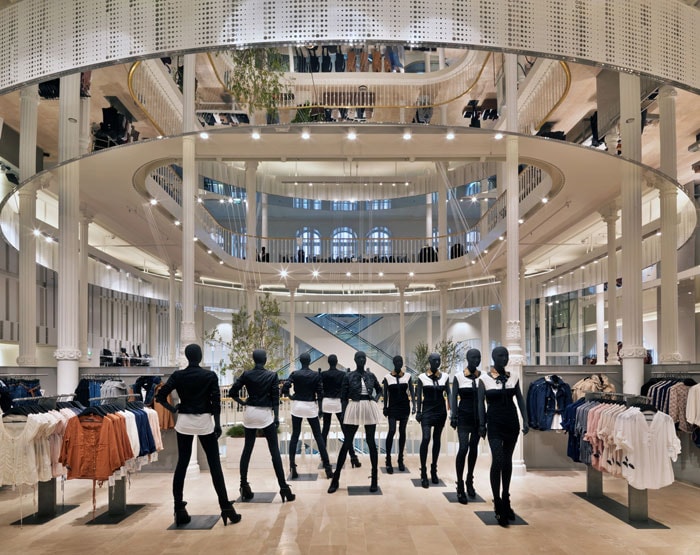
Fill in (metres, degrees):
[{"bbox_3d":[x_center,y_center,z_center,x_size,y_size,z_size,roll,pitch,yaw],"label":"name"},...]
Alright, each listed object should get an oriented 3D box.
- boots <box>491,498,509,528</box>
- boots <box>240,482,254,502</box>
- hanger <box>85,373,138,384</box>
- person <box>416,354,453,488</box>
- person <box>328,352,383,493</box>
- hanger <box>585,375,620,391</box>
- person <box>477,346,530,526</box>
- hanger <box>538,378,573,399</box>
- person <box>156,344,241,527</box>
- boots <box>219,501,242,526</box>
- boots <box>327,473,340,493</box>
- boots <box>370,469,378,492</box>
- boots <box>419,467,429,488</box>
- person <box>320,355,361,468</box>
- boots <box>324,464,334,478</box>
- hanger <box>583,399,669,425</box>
[{"bbox_3d":[1.598,2.501,6.890,0.092,0.301,0.204,-8,31,4],"label":"boots"},{"bbox_3d":[-1.207,2.598,7.820,0.192,0.220,0.116,5,-5,-43],"label":"boots"},{"bbox_3d":[-3.620,1.520,9.814,0.738,0.148,0.449,6,-12,-31],"label":"hanger"},{"bbox_3d":[1.099,1.881,8.603,0.443,1.723,0.877,-2,-9,8],"label":"person"},{"bbox_3d":[0.084,1.876,8.585,0.646,1.778,1.433,-1,-9,2],"label":"person"},{"bbox_3d":[3.726,1.577,9.651,0.238,0.147,0.318,5,-2,10],"label":"hanger"},{"bbox_3d":[1.688,1.707,7.120,0.493,1.885,0.710,-3,-9,15],"label":"person"},{"bbox_3d":[3.056,1.616,9.582,0.302,0.109,0.337,10,23,3],"label":"hanger"},{"bbox_3d":[-1.623,1.675,6.926,0.886,1.902,0.613,3,-9,-18],"label":"person"},{"bbox_3d":[-1.274,2.527,6.993,0.119,0.282,0.320,1,4,35],"label":"boots"},{"bbox_3d":[-0.218,2.587,8.212,0.147,0.256,0.420,0,-10,-1],"label":"boots"},{"bbox_3d":[0.296,2.561,8.200,0.103,0.280,0.212,-1,-9,6],"label":"boots"},{"bbox_3d":[0.977,2.627,8.530,0.099,0.249,0.355,-1,-10,6],"label":"boots"},{"bbox_3d":[-0.223,1.831,8.968,0.445,1.580,0.299,0,15,7],"label":"person"},{"bbox_3d":[-0.303,2.679,8.955,0.067,0.113,0.240,-1,1,3],"label":"boots"},{"bbox_3d":[2.953,1.530,7.180,0.487,0.275,0.716,1,-12,-4],"label":"hanger"}]
